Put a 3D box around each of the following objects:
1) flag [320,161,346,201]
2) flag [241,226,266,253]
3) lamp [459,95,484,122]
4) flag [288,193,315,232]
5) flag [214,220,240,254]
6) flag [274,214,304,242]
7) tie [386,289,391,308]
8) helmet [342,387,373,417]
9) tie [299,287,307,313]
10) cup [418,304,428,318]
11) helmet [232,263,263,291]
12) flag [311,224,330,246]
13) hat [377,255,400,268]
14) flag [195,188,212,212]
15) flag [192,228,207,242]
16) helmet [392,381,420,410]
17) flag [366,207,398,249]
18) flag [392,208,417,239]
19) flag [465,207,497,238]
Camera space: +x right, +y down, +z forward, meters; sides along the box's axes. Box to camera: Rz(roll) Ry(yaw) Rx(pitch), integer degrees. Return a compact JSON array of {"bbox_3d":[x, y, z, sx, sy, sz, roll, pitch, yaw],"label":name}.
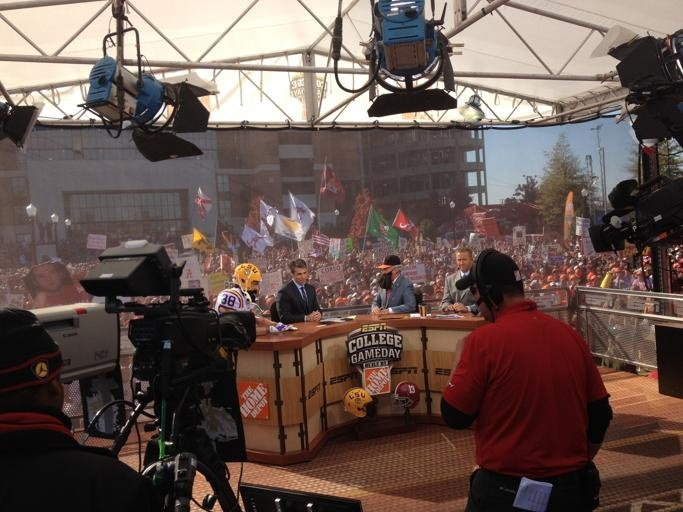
[{"bbox_3d":[-0.232,-1.678,12.255,0.660,1.009,0.096,12,-15,-35],"label":"flag"},{"bbox_3d":[-1.894,-0.342,11.523,0.418,0.321,0.058,38,-10,-11],"label":"flag"},{"bbox_3d":[2.578,-2.970,10.851,0.488,0.531,0.346,-2,6,5],"label":"lamp"},{"bbox_3d":[-0.915,-1.054,12.088,0.618,0.099,1.142,-18,46,-20],"label":"flag"},{"bbox_3d":[-2.322,-0.403,11.321,0.628,0.786,0.040,8,36,-2],"label":"flag"},{"bbox_3d":[-1.181,-0.597,11.793,0.457,0.362,0.078,22,-29,-24],"label":"flag"},{"bbox_3d":[0.698,0.630,8.170,0.045,0.216,0.147,2,-8,0],"label":"tie"},{"bbox_3d":[0.181,1.844,6.968,0.366,0.367,0.281,-5,2,-8],"label":"helmet"},{"bbox_3d":[-0.567,0.573,7.926,0.093,0.278,0.161,-1,6,12],"label":"tie"},{"bbox_3d":[1.127,0.745,7.497,0.134,0.167,0.145,0,-9,0],"label":"cup"},{"bbox_3d":[-1.187,0.254,6.927,0.328,0.329,0.273,3,-2,2],"label":"helmet"},{"bbox_3d":[-0.488,-0.432,12.000,0.387,0.447,0.133,-4,-6,-25],"label":"flag"},{"bbox_3d":[0.743,0.088,7.982,0.255,0.152,0.194,1,-3,-22],"label":"hat"},{"bbox_3d":[-2.874,-1.148,11.229,0.377,0.549,0.148,-5,5,-12],"label":"flag"},{"bbox_3d":[-2.929,-0.397,11.223,0.316,0.346,0.210,-3,-6,-44],"label":"flag"},{"bbox_3d":[0.857,1.789,7.044,0.333,0.335,0.280,4,-6,-20],"label":"helmet"},{"bbox_3d":[0.971,-0.667,12.580,0.768,0.920,0.087,13,-20,4],"label":"flag"},{"bbox_3d":[1.441,-0.741,12.773,0.489,0.543,0.060,36,-33,-21],"label":"flag"},{"bbox_3d":[3.392,-0.804,13.485,0.413,0.612,0.320,-27,18,-4],"label":"flag"}]
